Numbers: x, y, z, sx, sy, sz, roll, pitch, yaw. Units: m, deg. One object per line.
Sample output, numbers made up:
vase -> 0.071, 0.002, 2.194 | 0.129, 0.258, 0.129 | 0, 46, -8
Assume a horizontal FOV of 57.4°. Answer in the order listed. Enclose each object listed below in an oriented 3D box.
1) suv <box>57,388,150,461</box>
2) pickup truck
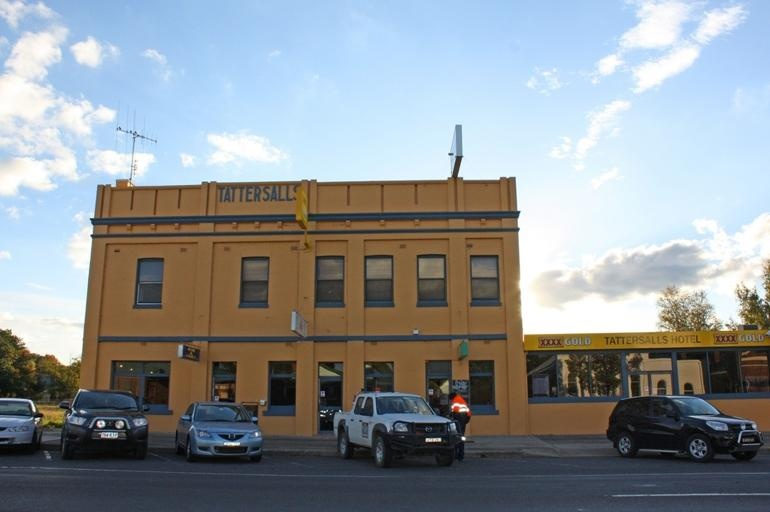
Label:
suv -> -8.947, 5.160, 22.511 | 1.925, 1.509, 3.193 | 5, -24, -18
pickup truck -> 0.136, 5.600, 23.360 | 2.106, 1.535, 3.719 | 6, -15, -23
